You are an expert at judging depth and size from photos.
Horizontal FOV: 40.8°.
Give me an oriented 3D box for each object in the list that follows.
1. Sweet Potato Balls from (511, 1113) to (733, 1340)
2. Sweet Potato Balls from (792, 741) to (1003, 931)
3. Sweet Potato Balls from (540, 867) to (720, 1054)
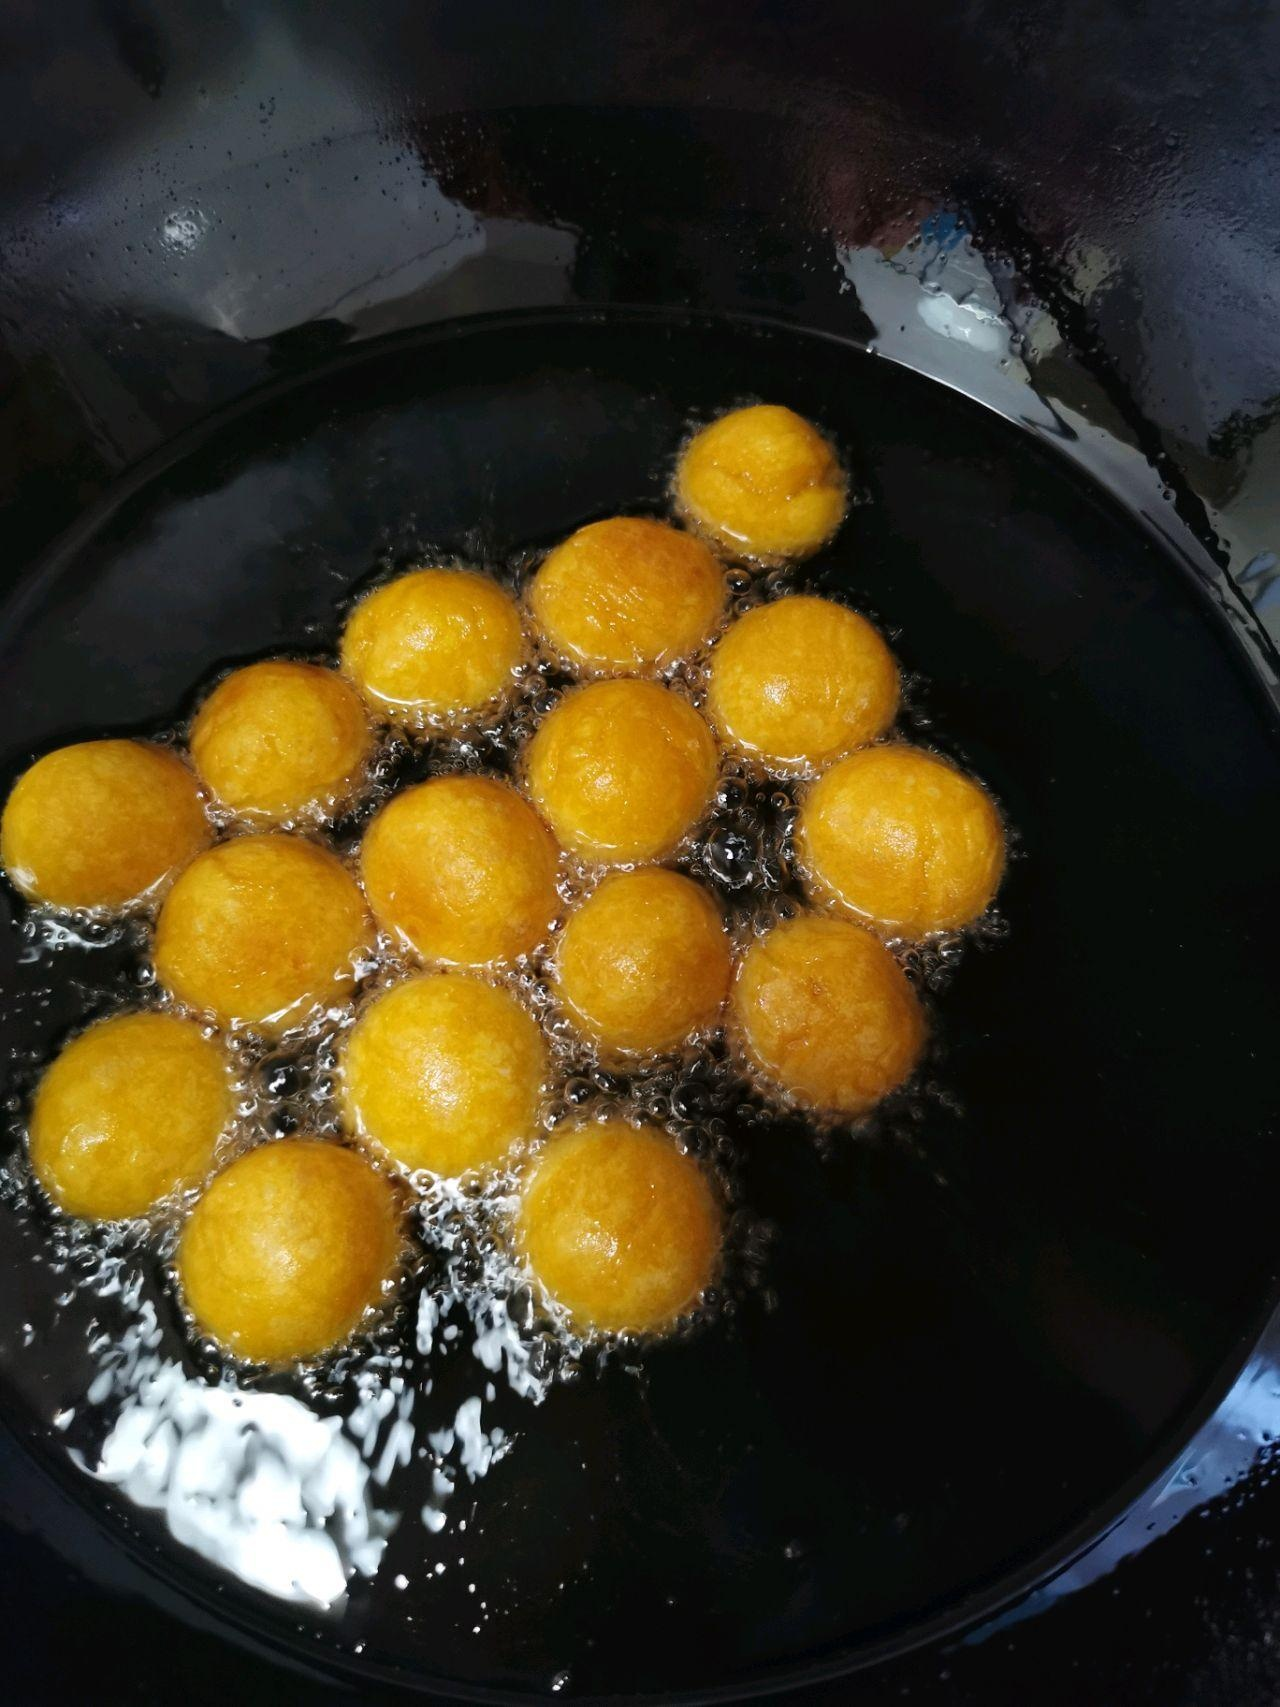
[{"bbox_3d":[-0.019,0.393,1.828,0.225,0.108,0.227,1,75,-3],"label":"Sweet Potato Balls"},{"bbox_3d":[0.302,-0.026,2.058,0.220,0.123,0.215,0,85,3],"label":"Sweet Potato Balls"},{"bbox_3d":[0.002,0.117,1.927,0.199,0.093,0.207,1,75,-3],"label":"Sweet Potato Balls"}]
